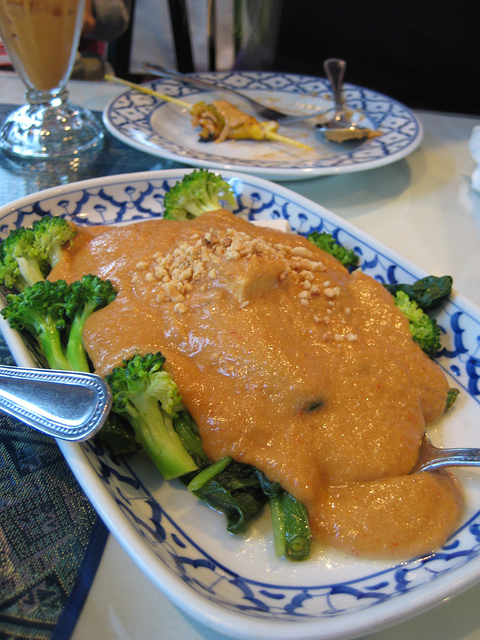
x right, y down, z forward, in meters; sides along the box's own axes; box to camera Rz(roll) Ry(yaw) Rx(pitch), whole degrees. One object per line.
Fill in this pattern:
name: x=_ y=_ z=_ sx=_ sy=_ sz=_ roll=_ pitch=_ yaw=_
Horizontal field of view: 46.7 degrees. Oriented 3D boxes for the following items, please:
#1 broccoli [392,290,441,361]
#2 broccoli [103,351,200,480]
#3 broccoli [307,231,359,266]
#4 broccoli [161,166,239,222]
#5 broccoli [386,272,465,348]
broccoli: x=0.484 y=0.011 z=1.522 sx=0.113 sy=0.098 sz=0.203 roll=0 pitch=46 yaw=-1
broccoli: x=-0.194 y=0.208 z=1.209 sx=0.153 sy=0.181 sz=0.271 roll=-16 pitch=49 yaw=-15
broccoli: x=0.290 y=-0.224 z=1.731 sx=0.143 sy=0.052 sz=0.091 roll=25 pitch=13 yaw=2
broccoli: x=-0.159 y=-0.456 z=1.965 sx=0.305 sy=0.207 sz=0.254 roll=-11 pitch=27 yaw=-26
broccoli: x=0.470 y=-0.021 z=1.573 sx=0.219 sy=0.102 sz=0.214 roll=25 pitch=48 yaw=12
